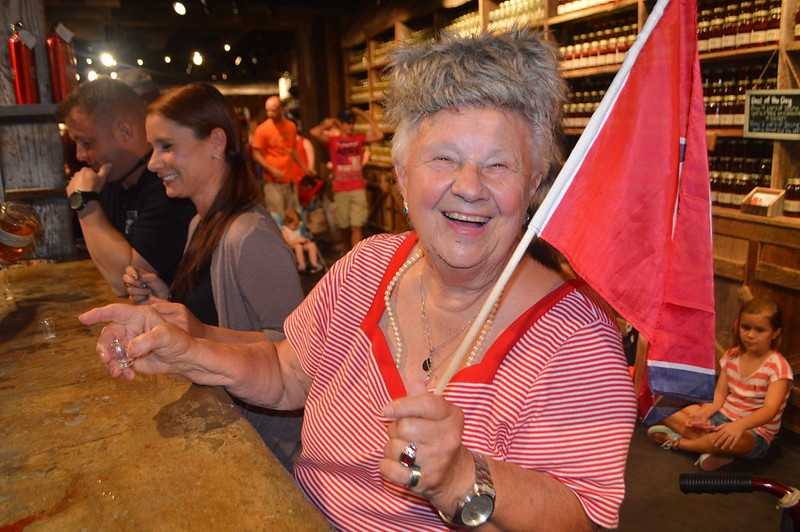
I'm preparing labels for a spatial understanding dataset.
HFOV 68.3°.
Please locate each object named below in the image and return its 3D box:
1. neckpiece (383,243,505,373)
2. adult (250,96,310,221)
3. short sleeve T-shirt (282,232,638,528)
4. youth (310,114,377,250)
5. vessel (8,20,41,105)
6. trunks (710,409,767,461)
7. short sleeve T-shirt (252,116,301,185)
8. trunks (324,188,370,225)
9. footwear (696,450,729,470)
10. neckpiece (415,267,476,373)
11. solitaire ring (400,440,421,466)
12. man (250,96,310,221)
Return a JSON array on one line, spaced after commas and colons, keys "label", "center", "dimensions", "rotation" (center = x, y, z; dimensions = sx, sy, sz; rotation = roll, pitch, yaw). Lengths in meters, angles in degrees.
[{"label": "neckpiece", "center": [0.050, 0.172, 2.174], "dimensions": [0.289, 0.409, 0.060], "rotation": [10, -12, 26]}, {"label": "adult", "center": [-1.605, -1.161, 8.062], "dimensions": [0.661, 2.117, 0.588], "rotation": [-12, 22, -28]}, {"label": "short sleeve T-shirt", "center": [0.228, 0.446, 1.826], "dimensions": [0.966, 1.047, 0.396], "rotation": [-7, -17, 40]}, {"label": "youth", "center": [-0.679, -0.993, 8.085], "dimensions": [0.844, 2.160, 0.620], "rotation": [-4, -7, -8]}, {"label": "vessel", "center": [-2.346, -1.233, 3.670], "dimensions": [0.167, 0.468, 0.132], "rotation": [-11, 16, -33]}, {"label": "trunks", "center": [2.053, 1.029, 3.564], "dimensions": [0.276, 0.223, 0.104], "rotation": [34, -12, -33]}, {"label": "short sleeve T-shirt", "center": [-1.662, -1.534, 8.061], "dimensions": [0.403, 0.900, 0.752], "rotation": [13, 19, 36]}, {"label": "trunks", "center": [-0.701, -0.741, 8.148], "dimensions": [0.586, 0.747, 0.402], "rotation": [1, 3, 6]}, {"label": "footwear", "center": [1.851, 1.163, 3.519], "dimensions": [0.190, 0.091, 0.082], "rotation": [-10, 33, -1]}, {"label": "neckpiece", "center": [0.131, 0.218, 2.061], "dimensions": [0.159, 0.299, 0.066], "rotation": [5, -9, 24]}, {"label": "solitaire ring", "center": [0.029, 0.493, 1.554], "dimensions": [0.023, 0.067, 0.063], "rotation": [13, 4, 15]}, {"label": "man", "center": [-1.619, -1.146, 8.083], "dimensions": [0.663, 2.108, 0.553], "rotation": [-13, 23, -30]}]
